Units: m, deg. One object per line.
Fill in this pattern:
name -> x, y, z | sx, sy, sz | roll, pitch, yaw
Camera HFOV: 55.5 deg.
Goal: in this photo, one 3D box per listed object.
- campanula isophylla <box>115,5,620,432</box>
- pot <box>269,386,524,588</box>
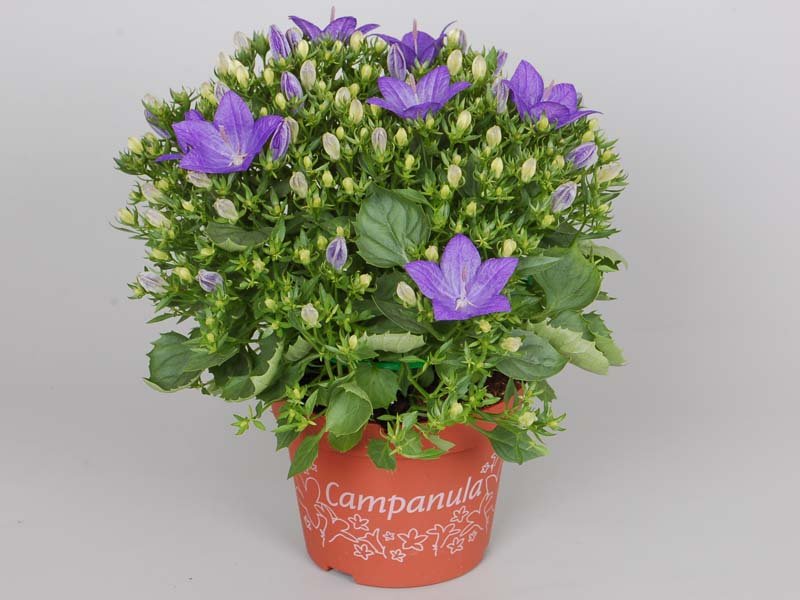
campanula isophylla -> -0.063, -0.085, 2.092 | 1.192, 0.791, 1.056 | 0, 53, 0
pot -> 0.012, 0.550, 2.269 | 0.707, 0.410, 0.667 | -7, 1, 0
